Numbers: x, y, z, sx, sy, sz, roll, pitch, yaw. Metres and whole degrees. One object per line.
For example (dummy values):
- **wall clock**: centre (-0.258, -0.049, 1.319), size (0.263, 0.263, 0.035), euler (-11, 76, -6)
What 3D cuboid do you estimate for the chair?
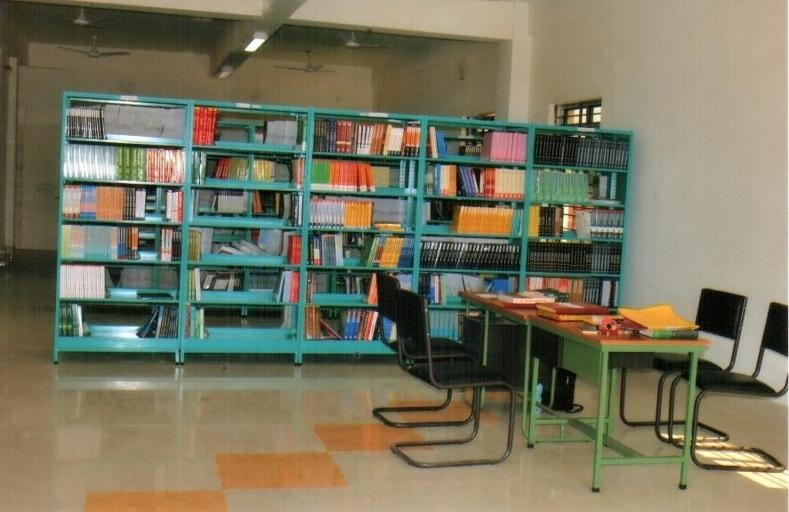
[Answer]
- **chair**: centre (0.627, 0.472, 3.568), size (1.475, 0.734, 1.090), euler (5, 5, 22)
